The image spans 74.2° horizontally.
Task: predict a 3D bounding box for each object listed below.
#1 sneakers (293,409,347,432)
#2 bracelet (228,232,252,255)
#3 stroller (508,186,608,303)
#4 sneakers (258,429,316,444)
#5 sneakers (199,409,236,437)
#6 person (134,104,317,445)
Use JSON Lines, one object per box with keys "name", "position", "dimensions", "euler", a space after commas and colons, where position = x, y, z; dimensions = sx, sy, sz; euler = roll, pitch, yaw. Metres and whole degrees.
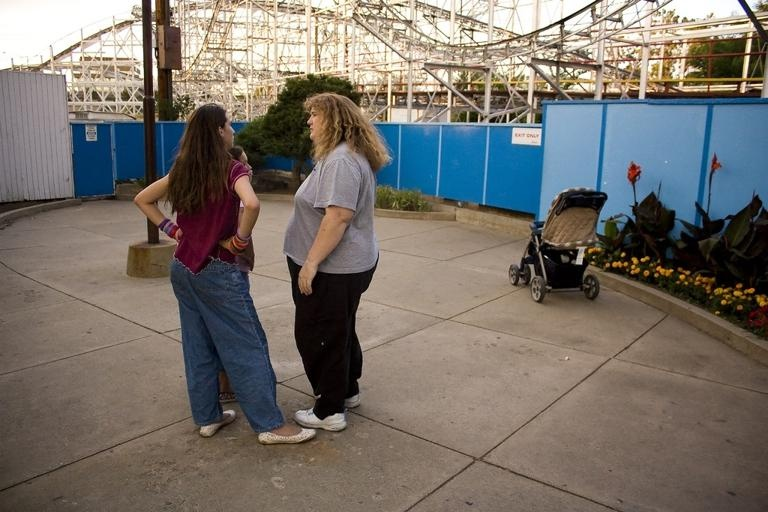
{"name": "sneakers", "position": [-0.528, 1.429, 4.563], "dimensions": [0.423, 0.193, 0.183], "euler": [9, 1, 0]}
{"name": "bracelet", "position": [-1.100, -0.101, 4.055], "dimensions": [0.153, 0.117, 0.163], "euler": [5, 51, 8]}
{"name": "stroller", "position": [2.667, -0.245, 7.818], "dimensions": [0.973, 1.695, 0.903], "euler": [-2, 16, -11]}
{"name": "sneakers", "position": [-0.778, 1.492, 4.298], "dimensions": [0.422, 0.142, 0.164], "euler": [-3, 3, -6]}
{"name": "sneakers", "position": [-1.382, 1.470, 4.472], "dimensions": [0.120, 0.125, 0.342], "euler": [16, 30, 22]}
{"name": "person", "position": [-1.261, 0.191, 4.163], "dimensions": [0.617, 2.755, 1.108], "euler": [-14, 22, -42]}
